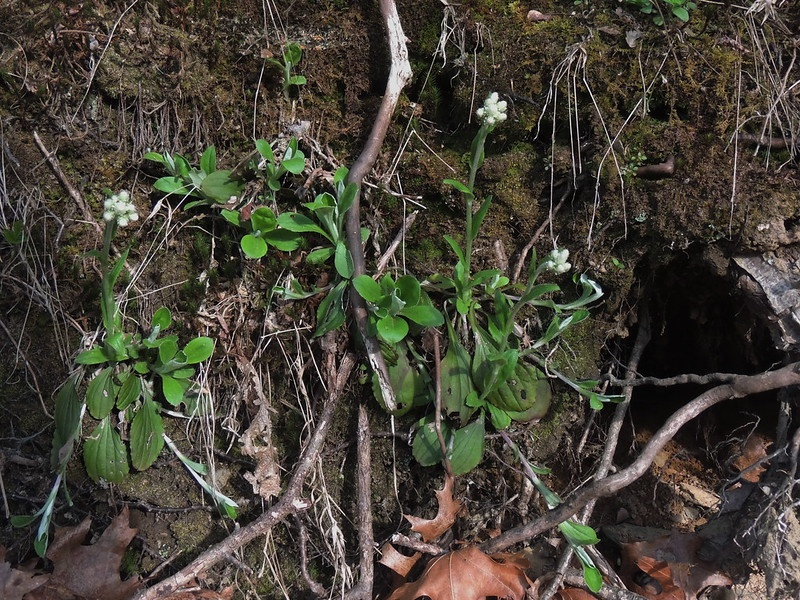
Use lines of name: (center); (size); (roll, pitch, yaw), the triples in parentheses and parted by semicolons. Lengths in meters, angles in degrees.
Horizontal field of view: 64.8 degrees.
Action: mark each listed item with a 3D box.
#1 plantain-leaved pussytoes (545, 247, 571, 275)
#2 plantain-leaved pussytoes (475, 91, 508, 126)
plantain-leaved pussytoes: (0.744, -0.180, 2.988); (0.083, 0.149, 0.163); (-9, 9, 14)
plantain-leaved pussytoes: (0.426, -0.890, 2.951); (0.158, 0.237, 0.116); (0, -7, 0)
